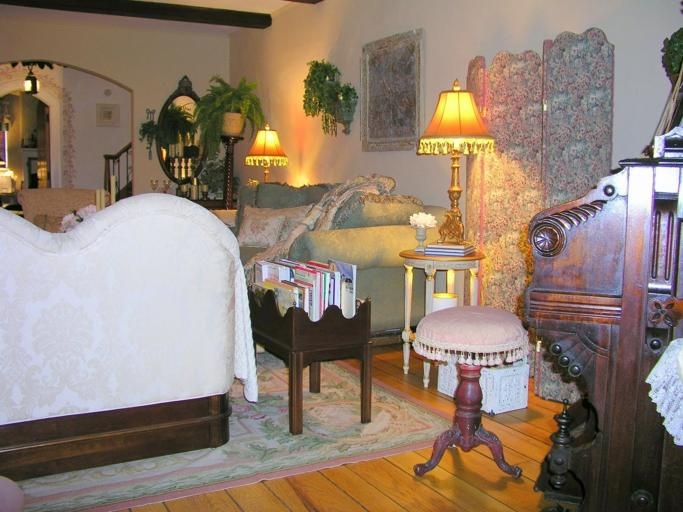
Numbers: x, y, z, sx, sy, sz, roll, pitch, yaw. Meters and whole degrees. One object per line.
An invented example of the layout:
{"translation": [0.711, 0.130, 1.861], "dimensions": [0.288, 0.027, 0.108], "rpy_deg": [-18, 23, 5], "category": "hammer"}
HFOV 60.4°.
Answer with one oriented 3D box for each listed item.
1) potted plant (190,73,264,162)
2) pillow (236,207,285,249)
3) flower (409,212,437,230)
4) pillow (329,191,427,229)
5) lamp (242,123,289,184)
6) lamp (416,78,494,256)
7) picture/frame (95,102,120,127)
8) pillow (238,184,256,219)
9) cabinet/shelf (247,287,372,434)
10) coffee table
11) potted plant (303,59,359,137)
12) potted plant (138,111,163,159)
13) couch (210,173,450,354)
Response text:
{"translation": [-1.496, -1.730, 7.302], "dimensions": [0.989, 1.000, 0.940], "rpy_deg": [1, 5, -31], "category": "potted plant"}
{"translation": [-0.683, -0.274, 4.967], "dimensions": [0.372, 0.358, 0.119], "rpy_deg": [-3, -24, 29], "category": "pillow"}
{"translation": [0.498, -0.210, 3.748], "dimensions": [0.139, 0.056, 0.141], "rpy_deg": [-2, 21, -7], "category": "flower"}
{"translation": [0.268, -0.326, 4.182], "dimensions": [0.703, 0.255, 0.132], "rpy_deg": [-3, 10, -20], "category": "pillow"}
{"translation": [-0.834, -1.097, 6.441], "dimensions": [0.432, 0.675, 0.423], "rpy_deg": [-5, 16, -27], "category": "lamp"}
{"translation": [0.717, -0.575, 3.696], "dimensions": [0.496, 0.987, 0.480], "rpy_deg": [8, 5, 35], "category": "lamp"}
{"translation": [-4.076, -2.447, 10.183], "dimensions": [0.370, 0.400, 0.092], "rpy_deg": [-1, 10, -8], "category": "picture/frame"}
{"translation": [-0.885, -0.538, 5.719], "dimensions": [0.289, 0.279, 0.106], "rpy_deg": [4, 1, 40], "category": "pillow"}
{"translation": [-0.200, 0.535, 3.170], "dimensions": [0.563, 0.610, 0.800], "rpy_deg": [-1, 1, -35], "category": "cabinet/shelf"}
{"translation": [0.674, 0.368, 3.739], "dimensions": [0.510, 0.811, 0.529], "rpy_deg": [7, -10, -3], "category": "coffee table"}
{"translation": [-0.125, -1.556, 5.773], "dimensions": [0.246, 0.711, 0.704], "rpy_deg": [-7, 12, -39], "category": "potted plant"}
{"translation": [-2.553, -1.624, 7.833], "dimensions": [0.240, 0.637, 0.273], "rpy_deg": [1, 2, -14], "category": "potted plant"}
{"translation": [-0.117, -0.090, 4.931], "dimensions": [1.175, 1.090, 2.089], "rpy_deg": [-2, 13, -27], "category": "couch"}
